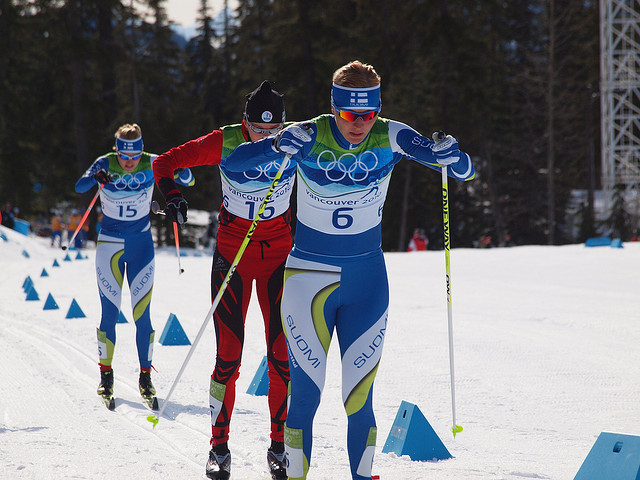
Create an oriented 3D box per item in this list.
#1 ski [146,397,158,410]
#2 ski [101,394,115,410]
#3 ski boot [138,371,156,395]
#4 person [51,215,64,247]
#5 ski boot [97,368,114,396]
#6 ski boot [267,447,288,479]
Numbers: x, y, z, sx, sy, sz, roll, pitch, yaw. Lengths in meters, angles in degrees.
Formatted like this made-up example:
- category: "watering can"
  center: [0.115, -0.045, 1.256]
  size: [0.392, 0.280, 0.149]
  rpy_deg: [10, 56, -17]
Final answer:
- category: "ski"
  center: [-3.031, 3.019, 19.722]
  size: [0.203, 0.361, 0.212]
  rpy_deg: [4, -30, -14]
- category: "ski"
  center: [-3.781, 2.926, 19.566]
  size: [0.113, 0.149, 0.425]
  rpy_deg: [3, 14, -26]
- category: "ski boot"
  center: [-3.145, 2.622, 19.884]
  size: [0.375, 0.396, 0.281]
  rpy_deg: [3, 3, 6]
- category: "person"
  center: [-10.880, -0.383, 45.287]
  size: [0.426, 1.392, 2.819]
  rpy_deg: [2, 3, -14]
- category: "ski boot"
  center: [-3.880, 2.609, 19.809]
  size: [0.270, 0.438, 0.323]
  rpy_deg: [2, 3, -14]
- category: "ski boot"
  center: [-0.697, 3.688, 17.860]
  size: [0.322, 0.476, 0.254]
  rpy_deg: [3, 3, -1]
